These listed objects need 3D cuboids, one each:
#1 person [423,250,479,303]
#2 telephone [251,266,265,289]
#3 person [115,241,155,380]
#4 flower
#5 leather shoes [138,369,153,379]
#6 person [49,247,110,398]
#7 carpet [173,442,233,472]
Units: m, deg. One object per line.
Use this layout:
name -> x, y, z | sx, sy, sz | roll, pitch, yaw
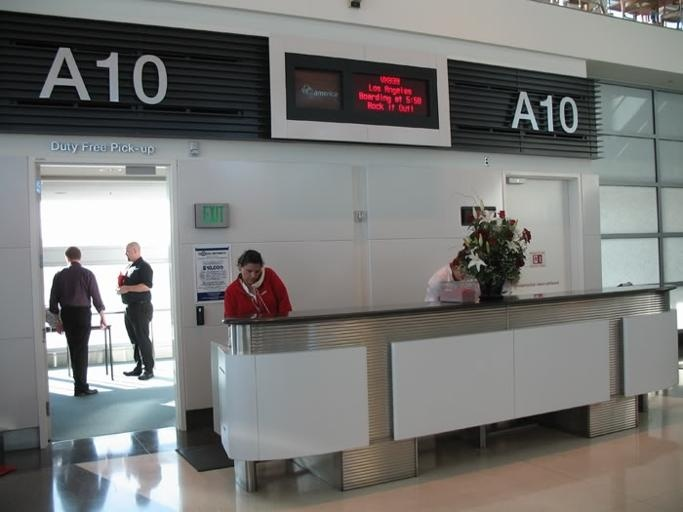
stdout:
person -> 1.078, 0.211, 5.440 | 0.595, 0.425, 1.272 | -7, -6, 2
telephone -> -0.802, 0.202, 5.237 | 0.085, 0.197, 0.139 | 12, 4, 23
person -> -2.969, 0.796, 7.781 | 0.458, 1.989, 0.601 | -3, 3, -23
flower -> 1.512, 0.002, 5.259 | 0.627, 0.798, 0.663 | -5, 12, -15
leather shoes -> -2.858, 1.730, 7.886 | 0.108, 0.085, 0.199 | -1, -6, 14
person -> -3.412, 0.855, 6.884 | 0.449, 1.928, 0.678 | -2, 3, -4
carpet -> -1.287, 1.878, 5.069 | 0.423, 0.031, 0.722 | -4, 4, -27
